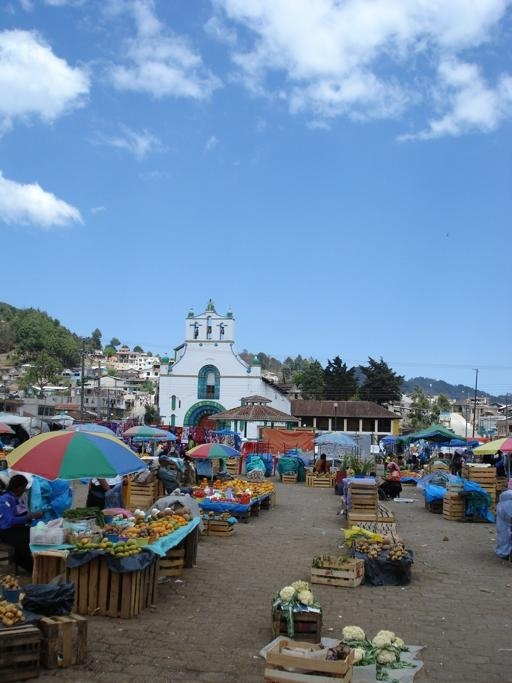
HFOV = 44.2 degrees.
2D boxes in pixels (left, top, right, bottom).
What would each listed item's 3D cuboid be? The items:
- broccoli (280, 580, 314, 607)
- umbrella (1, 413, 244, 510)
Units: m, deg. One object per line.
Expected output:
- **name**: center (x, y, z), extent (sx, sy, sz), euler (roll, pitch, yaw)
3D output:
- **broccoli**: center (0.387, 2.315, 5.777), extent (0.246, 0.122, 0.195), euler (5, -5, -12)
- **umbrella**: center (-2.068, 1.432, 7.760), extent (1.967, 0.621, 1.768), euler (1, -5, -18)
